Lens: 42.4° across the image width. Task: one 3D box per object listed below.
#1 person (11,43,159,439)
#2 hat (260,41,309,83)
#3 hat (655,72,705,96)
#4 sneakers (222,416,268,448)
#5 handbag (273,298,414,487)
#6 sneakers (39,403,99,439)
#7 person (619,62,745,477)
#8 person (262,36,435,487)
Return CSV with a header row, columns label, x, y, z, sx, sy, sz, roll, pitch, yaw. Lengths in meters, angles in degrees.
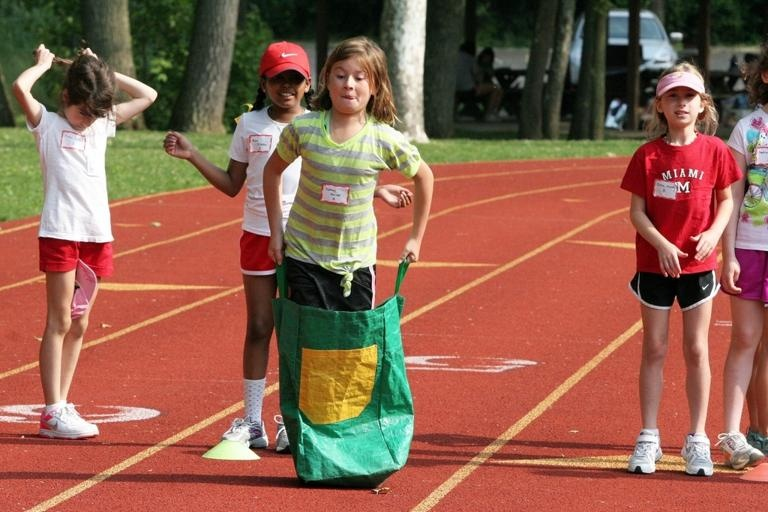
label,x,y,z,sx,sy,sz,roll,pitch,yaw
person,-2.051,-0.107,6.546,0.678,2.453,0.939,1,15,3
hat,-0.643,-1.244,6.285,0.311,0.216,0.428,-2,11,-13
hat,1.794,-1.025,5.960,0.279,0.156,0.158,4,15,15
sneakers,-0.875,1.126,6.346,0.362,0.158,0.136,14,-3,-37
handbag,-0.263,0.813,5.985,0.866,1.090,0.696,2,4,-22
sneakers,-2.064,1.077,6.499,0.432,0.212,0.179,3,2,4
person,1.766,0.070,6.019,0.681,2.394,0.828,5,15,18
person,-0.198,0.047,5.808,0.998,2.552,0.753,-2,15,-8
